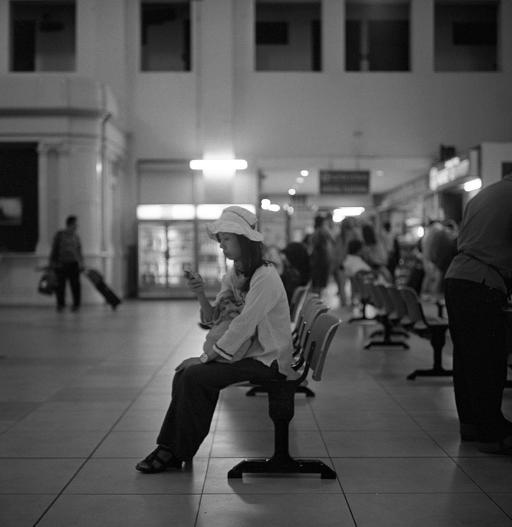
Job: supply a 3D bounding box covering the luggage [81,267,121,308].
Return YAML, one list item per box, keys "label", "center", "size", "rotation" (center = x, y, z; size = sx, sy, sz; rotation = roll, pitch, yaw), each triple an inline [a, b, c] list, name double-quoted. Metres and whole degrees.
- label: "luggage"
  center: [-1.382, 0.239, 6.816]
  size: [0.154, 0.442, 0.590]
  rotation: [0, 5, 11]

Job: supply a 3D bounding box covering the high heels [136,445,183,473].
- label: "high heels"
  center: [-0.511, 1.053, 4.030]
  size: [0.218, 0.103, 0.116]
  rotation: [3, -7, -11]

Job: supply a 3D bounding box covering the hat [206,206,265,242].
- label: "hat"
  center: [-0.105, -0.211, 4.134]
  size: [0.340, 0.204, 0.394]
  rotation: [8, 4, 14]

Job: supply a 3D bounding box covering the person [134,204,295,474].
- label: "person"
  center: [-0.206, 0.391, 4.125]
  size: [0.836, 1.400, 0.480]
  rotation: [-2, 4, -4]

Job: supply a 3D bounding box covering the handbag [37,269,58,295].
- label: "handbag"
  center: [-1.775, 0.168, 6.363]
  size: [0.143, 0.221, 0.070]
  rotation: [9, 9, -3]

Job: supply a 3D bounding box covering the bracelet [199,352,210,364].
- label: "bracelet"
  center: [-0.277, 0.509, 4.037]
  size: [0.047, 0.045, 0.080]
  rotation: [-40, -1, -4]

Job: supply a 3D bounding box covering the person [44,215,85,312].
- label: "person"
  center: [-1.616, 0.019, 6.448]
  size: [0.193, 0.829, 0.421]
  rotation: [1, 5, 24]

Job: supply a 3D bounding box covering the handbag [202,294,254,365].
- label: "handbag"
  center: [-0.116, 0.394, 4.198]
  size: [0.127, 0.325, 0.314]
  rotation: [20, 14, -6]
